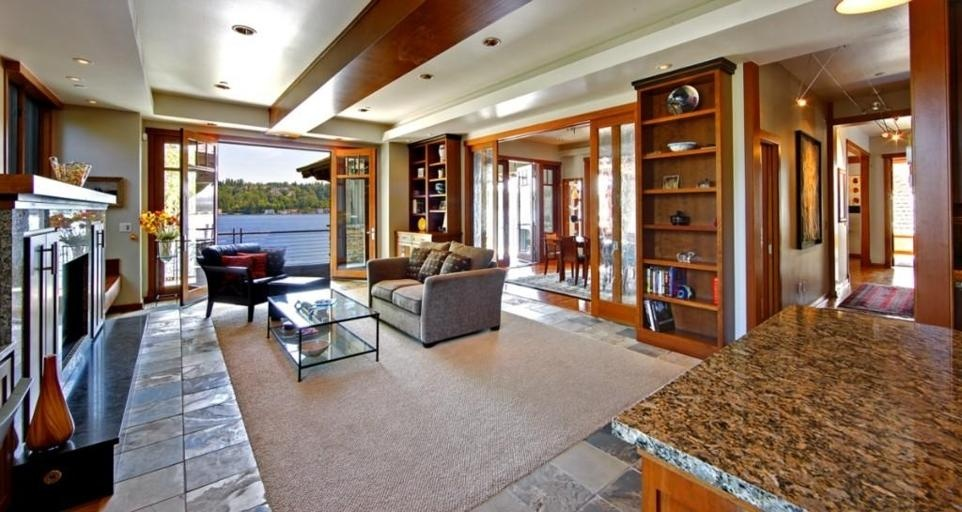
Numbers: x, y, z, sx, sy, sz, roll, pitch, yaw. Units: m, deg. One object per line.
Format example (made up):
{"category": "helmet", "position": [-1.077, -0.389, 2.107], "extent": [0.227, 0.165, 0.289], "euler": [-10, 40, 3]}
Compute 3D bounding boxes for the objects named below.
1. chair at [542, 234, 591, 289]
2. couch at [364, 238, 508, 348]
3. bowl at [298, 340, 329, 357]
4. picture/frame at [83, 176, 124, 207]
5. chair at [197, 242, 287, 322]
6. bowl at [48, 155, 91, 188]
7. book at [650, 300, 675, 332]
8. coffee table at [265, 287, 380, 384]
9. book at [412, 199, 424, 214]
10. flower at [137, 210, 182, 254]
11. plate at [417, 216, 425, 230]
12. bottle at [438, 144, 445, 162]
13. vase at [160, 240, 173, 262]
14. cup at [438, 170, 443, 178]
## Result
{"category": "chair", "position": [1.676, 0.116, 10.701], "extent": [0.404, 0.559, 1.077], "euler": [-2, 6, -23]}
{"category": "couch", "position": [-0.657, 0.460, 7.873], "extent": [1.467, 1.288, 2.191], "euler": [-2, 4, -35]}
{"category": "bowl", "position": [-2.040, 1.123, 6.754], "extent": [0.220, 0.078, 0.214], "euler": [2, 15, -1]}
{"category": "picture/frame", "position": [-5.742, -0.992, 8.439], "extent": [0.528, 0.481, 0.165], "euler": [-6, 10, -31]}
{"category": "chair", "position": [-3.593, 0.340, 8.540], "extent": [0.981, 0.891, 1.386], "euler": [8, 6, 13]}
{"category": "bowl", "position": [-4.767, -0.973, 6.392], "extent": [0.336, 0.319, 0.666], "euler": [-7, 10, -36]}
{"category": "book", "position": [2.442, 0.813, 7.457], "extent": [0.422, 0.385, 0.094], "euler": [2, -10, -22]}
{"category": "coffee table", "position": [-1.983, 0.955, 7.063], "extent": [0.992, 0.562, 1.659], "euler": [-6, 12, -34]}
{"category": "book", "position": [-1.273, -1.017, 11.215], "extent": [0.308, 0.265, 0.158], "euler": [3, 5, 39]}
{"category": "flower", "position": [-5.065, -0.375, 8.914], "extent": [0.724, 0.763, 0.747], "euler": [0, 2, 32]}
{"category": "plate", "position": [-1.152, -0.639, 10.875], "extent": [0.109, 0.249, 0.216], "euler": [-1, -8, -41]}
{"category": "bottle", "position": [-0.756, -1.970, 10.481], "extent": [0.055, 0.338, 0.286], "euler": [-4, 9, -19]}
{"category": "vase", "position": [-4.962, -0.116, 8.691], "extent": [0.210, 0.316, 0.268], "euler": [-6, 10, -27]}
{"category": "cup", "position": [-0.774, -1.586, 10.608], "extent": [0.097, 0.179, 0.227], "euler": [-2, 8, -3]}
